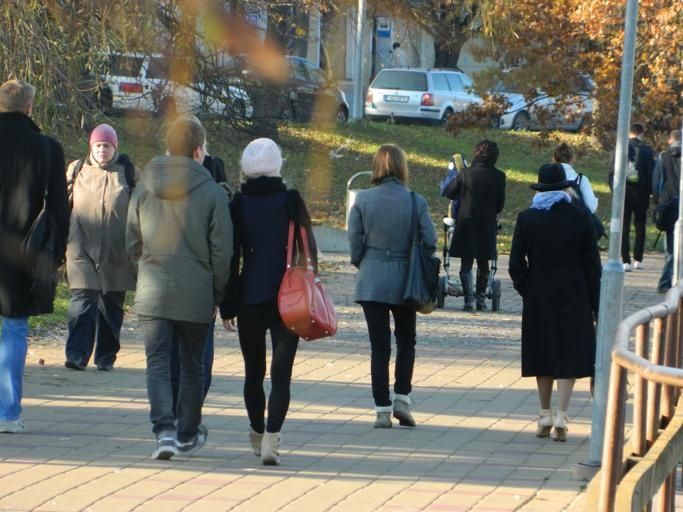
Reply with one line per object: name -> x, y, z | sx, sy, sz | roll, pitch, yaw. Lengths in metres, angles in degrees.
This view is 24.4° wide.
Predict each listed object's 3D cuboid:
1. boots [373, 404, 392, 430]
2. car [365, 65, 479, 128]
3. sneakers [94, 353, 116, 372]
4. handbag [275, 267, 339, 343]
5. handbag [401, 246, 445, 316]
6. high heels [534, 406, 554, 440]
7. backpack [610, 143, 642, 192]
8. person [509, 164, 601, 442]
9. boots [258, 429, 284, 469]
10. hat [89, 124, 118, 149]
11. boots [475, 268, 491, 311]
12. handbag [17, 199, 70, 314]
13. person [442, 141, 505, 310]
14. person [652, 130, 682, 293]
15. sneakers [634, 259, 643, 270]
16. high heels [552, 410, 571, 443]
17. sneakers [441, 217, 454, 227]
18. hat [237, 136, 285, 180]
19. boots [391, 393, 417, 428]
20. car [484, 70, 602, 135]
boots -> 0.404, 1.550, 15.315 | 0.184, 0.194, 0.169 | 3, 12, 1
car -> 1.814, -3.598, 35.862 | 2.349, 1.229, 1.432 | -5, 14, -32
sneakers -> -2.509, 1.120, 16.606 | 0.098, 0.123, 0.293 | 2, 4, -1
handbag -> -0.351, 0.487, 14.633 | 0.289, 0.651, 0.660 | -22, -41, 19
handbag -> 0.777, 0.233, 15.410 | 0.328, 0.660, 0.407 | 4, 12, 3
high heels -> 1.953, 1.597, 15.135 | 0.158, 0.256, 0.160 | 4, 12, 5
backpack -> 4.212, -1.304, 22.878 | 0.208, 0.595, 0.243 | 11, 14, 35
person -> 2.060, 0.439, 15.247 | 0.926, 2.484, 0.773 | 12, 15, 38
boots -> -0.662, 1.718, 14.402 | 0.181, 0.297, 0.299 | 2, 12, -3
hat -> -2.506, -1.248, 16.610 | 0.262, 0.258, 0.283 | 5, -1, -22
boots -> 1.801, 0.437, 20.203 | 0.219, 0.632, 0.209 | -6, 39, -8
handbag -> -2.838, 0.012, 14.800 | 0.245, 1.077, 0.329 | 11, 14, 35
person -> 1.635, -0.336, 19.849 | 0.758, 2.198, 0.676 | 1, 12, -7
person -> 4.488, -0.634, 21.910 | 0.372, 2.061, 1.417 | 5, 12, 11
sneakers -> 4.454, 0.141, 23.728 | 0.164, 0.199, 0.479 | 1, 2, 15
high heels -> 2.078, 1.649, 15.091 | 0.110, 0.205, 0.308 | -2, -32, 3
sneakers -> 1.319, -0.405, 19.758 | 0.122, 0.083, 0.111 | -2, 28, 10
hat -> -0.782, -0.841, 14.579 | 0.335, 0.373, 0.384 | -5, -17, 23
boots -> 0.654, 1.491, 15.279 | 0.141, 0.278, 0.408 | -12, -32, 17
car -> 4.425, -3.003, 31.054 | 2.443, 1.099, 1.312 | 0, 3, -15
